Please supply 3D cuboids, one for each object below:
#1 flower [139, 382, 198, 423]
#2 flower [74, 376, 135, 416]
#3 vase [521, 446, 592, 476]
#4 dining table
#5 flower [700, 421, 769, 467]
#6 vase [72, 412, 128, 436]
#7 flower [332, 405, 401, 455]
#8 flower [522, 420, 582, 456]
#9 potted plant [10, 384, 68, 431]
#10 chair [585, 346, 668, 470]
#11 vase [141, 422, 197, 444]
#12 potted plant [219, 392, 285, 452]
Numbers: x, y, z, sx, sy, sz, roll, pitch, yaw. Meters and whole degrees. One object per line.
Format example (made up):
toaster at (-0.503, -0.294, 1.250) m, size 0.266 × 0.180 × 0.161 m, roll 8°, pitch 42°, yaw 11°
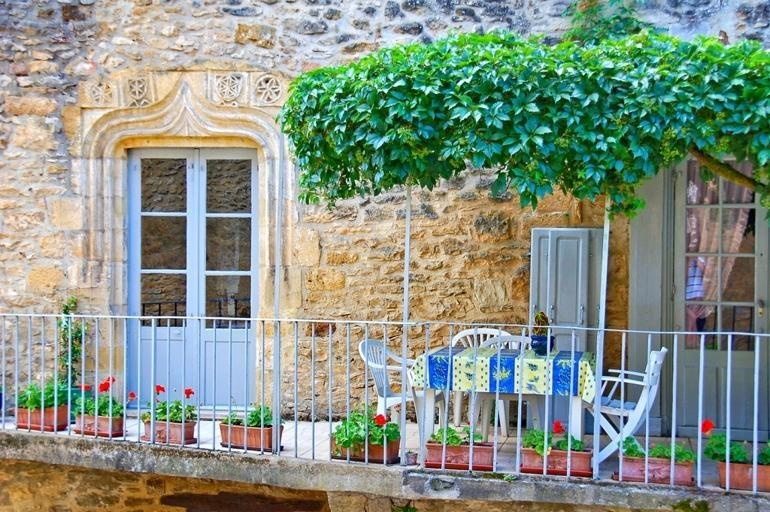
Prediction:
flower at (-1.822, 1.326, 12.523) m, size 0.447 × 0.294 × 0.380 m, roll 1°, pitch 2°, yaw 16°
flower at (-2.475, 1.289, 12.660) m, size 0.423 × 0.322 × 0.466 m, roll -1°, pitch -2°, yaw 9°
vase at (1.381, 1.674, 11.749) m, size 0.575 × 0.232 × 0.173 m, roll -1°, pitch -5°, yaw 4°
dining table at (1.000, 1.369, 11.996) m, size 1.240 × 0.560 × 0.889 m, roll 1°, pitch 2°, yaw 14°
flower at (2.787, 1.554, 11.598) m, size 0.415 × 0.178 × 0.473 m, roll -4°, pitch -3°, yaw 31°
vase at (-2.466, 1.447, 12.495) m, size 0.315 × 0.118 × 0.214 m, roll 2°, pitch -3°, yaw 13°
flower at (-0.141, 1.463, 12.025) m, size 0.538 × 0.419 × 0.372 m, roll -6°, pitch -6°, yaw 44°
flower at (1.379, 1.489, 11.812) m, size 0.355 × 0.155 × 0.284 m, roll 3°, pitch -7°, yaw -35°
potted plant at (-2.963, 1.321, 12.655) m, size 0.431 × 0.424 × 0.460 m, roll 0°, pitch -5°, yaw -14°
chair at (2.066, 1.276, 12.300) m, size 0.993 × 1.208 × 0.885 m, roll 0°, pitch -3°, yaw 16°
vase at (-1.846, 1.521, 12.413) m, size 0.484 × 0.199 × 0.382 m, roll -1°, pitch -5°, yaw -3°
potted plant at (-1.126, 1.463, 12.317) m, size 0.523 × 0.394 × 0.506 m, roll 0°, pitch -5°, yaw -6°
